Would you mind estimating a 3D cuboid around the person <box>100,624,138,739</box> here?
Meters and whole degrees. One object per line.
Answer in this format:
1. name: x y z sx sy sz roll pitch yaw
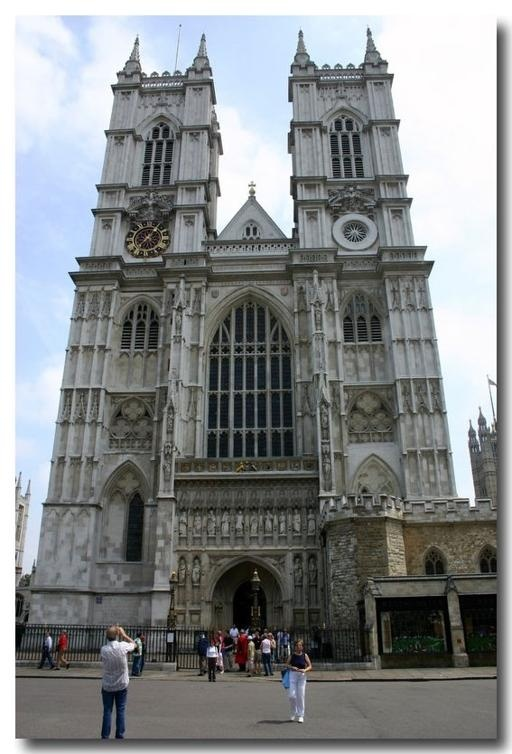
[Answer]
1. person: -1.419 3.119 5.884 0.314 1.076 0.680 3 -21 -11
